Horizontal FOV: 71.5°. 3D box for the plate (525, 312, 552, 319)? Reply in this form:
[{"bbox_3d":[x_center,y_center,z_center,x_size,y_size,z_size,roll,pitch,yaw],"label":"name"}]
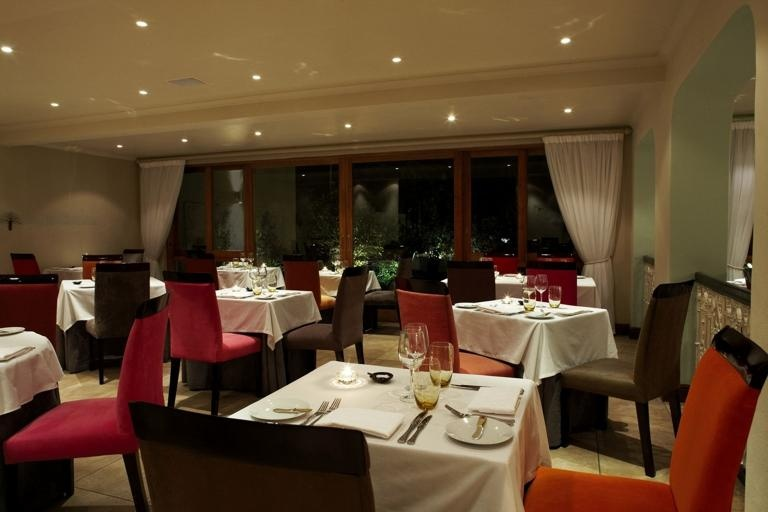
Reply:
[{"bbox_3d":[1.264,0.485,4.340,0.213,0.038,0.198,-1,0,9],"label":"plate"}]

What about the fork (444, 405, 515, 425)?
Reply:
[{"bbox_3d":[0.508,0.832,2.762,0.318,0.055,0.047,3,14,18],"label":"fork"}]

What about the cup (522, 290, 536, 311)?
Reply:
[{"bbox_3d":[1.220,0.368,4.465,0.081,0.192,0.198,-1,1,18],"label":"cup"}]

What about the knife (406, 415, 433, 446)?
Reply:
[{"bbox_3d":[0.178,0.880,2.686,0.046,0.037,0.236,10,16,18],"label":"knife"}]

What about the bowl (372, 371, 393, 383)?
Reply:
[{"bbox_3d":[-0.011,0.725,3.172,0.126,0.045,0.142,-1,0,33],"label":"bowl"}]

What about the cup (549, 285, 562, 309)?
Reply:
[{"bbox_3d":[1.437,0.352,4.496,0.093,0.183,0.173,-1,1,14],"label":"cup"}]

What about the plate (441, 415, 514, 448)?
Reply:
[{"bbox_3d":[0.477,0.880,2.661,0.334,0.096,0.192,-1,0,10],"label":"plate"}]

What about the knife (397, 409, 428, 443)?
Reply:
[{"bbox_3d":[0.141,0.868,2.699,0.053,0.017,0.328,4,8,21],"label":"knife"}]
